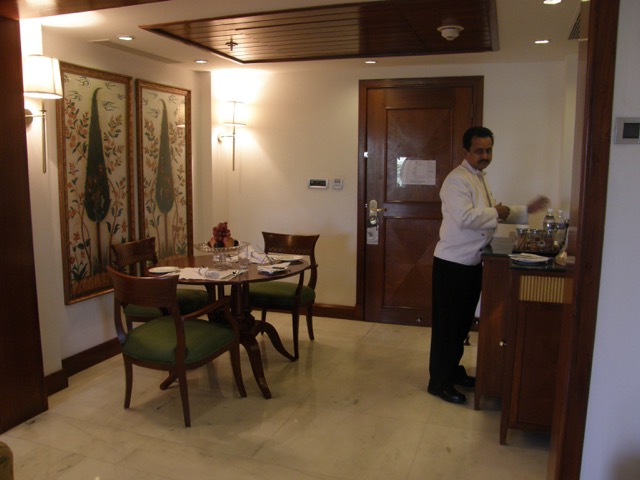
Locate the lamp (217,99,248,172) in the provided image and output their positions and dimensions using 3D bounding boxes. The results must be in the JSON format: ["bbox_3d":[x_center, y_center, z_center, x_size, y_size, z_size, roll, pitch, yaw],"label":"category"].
[{"bbox_3d":[-0.986,-1.166,5.666,0.331,0.805,0.169,5,12,24],"label":"lamp"}]

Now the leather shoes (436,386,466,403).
[{"bbox_3d":[1.000,1.163,3.807,0.175,0.079,0.103,3,5,34],"label":"leather shoes"}]

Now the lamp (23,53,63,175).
[{"bbox_3d":[-2.017,-0.912,3.689,0.234,0.858,0.427,-6,13,-30],"label":"lamp"}]

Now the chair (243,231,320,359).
[{"bbox_3d":[-0.375,0.426,4.672,0.750,0.982,0.709,2,1,37],"label":"chair"}]

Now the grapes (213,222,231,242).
[{"bbox_3d":[-0.793,-0.067,4.014,0.126,0.164,0.157,4,-7,5],"label":"grapes"}]

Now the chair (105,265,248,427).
[{"bbox_3d":[-1.023,0.690,3.676,0.783,1.145,0.803,2,12,15],"label":"chair"}]

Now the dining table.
[{"bbox_3d":[-0.656,0.687,4.205,1.015,0.878,1.138,-3,7,19],"label":"dining table"}]

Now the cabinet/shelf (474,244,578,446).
[{"bbox_3d":[1.335,0.714,3.442,0.435,1.202,0.644,0,11,-1],"label":"cabinet/shelf"}]

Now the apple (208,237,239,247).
[{"bbox_3d":[-0.784,0.033,3.948,0.118,0.069,0.119,-5,-5,44],"label":"apple"}]
